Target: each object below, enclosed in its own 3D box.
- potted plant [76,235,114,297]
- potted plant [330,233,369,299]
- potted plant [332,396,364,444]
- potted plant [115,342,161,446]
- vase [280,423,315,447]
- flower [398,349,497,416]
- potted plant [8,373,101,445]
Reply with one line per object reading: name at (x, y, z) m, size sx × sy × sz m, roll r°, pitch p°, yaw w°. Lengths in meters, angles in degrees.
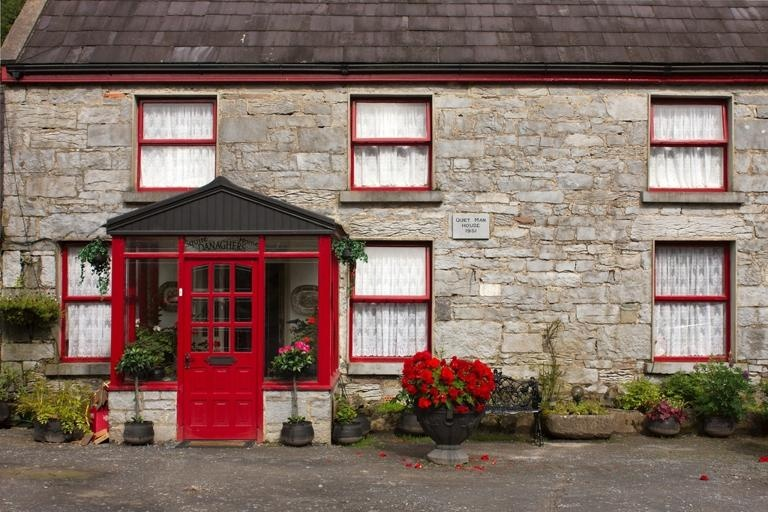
potted plant at (-5.247, 0.176, 22.103) m, size 0.578 × 1.046 × 1.055 m, roll 1°, pitch -6°, yaw -14°
potted plant at (-0.603, -0.062, 22.099) m, size 0.698 × 0.797 × 0.708 m, roll 0°, pitch -1°, yaw 4°
potted plant at (-0.607, 2.959, 21.375) m, size 0.636 × 0.667 × 0.429 m, roll 2°, pitch -6°, yaw -20°
potted plant at (-4.265, 2.379, 21.019) m, size 0.633 × 1.759 × 0.342 m, roll -2°, pitch -6°, yaw 18°
vase at (-1.471, 3.062, 20.749) m, size 0.488 × 0.291 × 0.454 m, roll 1°, pitch -9°, yaw -5°
flower at (1.001, 2.120, 20.448) m, size 1.243 × 0.759 × 1.139 m, roll 1°, pitch -2°, yaw -8°
potted plant at (-5.829, 2.686, 21.717) m, size 1.135 × 1.222 × 1.584 m, roll 3°, pitch -6°, yaw -28°
